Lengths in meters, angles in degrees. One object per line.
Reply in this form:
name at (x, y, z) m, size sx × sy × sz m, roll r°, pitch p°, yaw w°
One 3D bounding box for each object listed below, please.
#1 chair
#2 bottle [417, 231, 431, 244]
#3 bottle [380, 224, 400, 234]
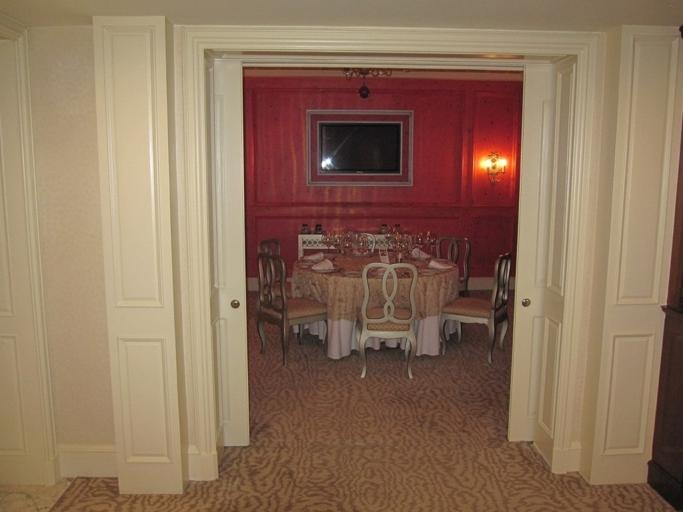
chair at (0.422, 0.464, 5.708) m, size 2.563 × 1.190 × 1.376 m, roll -1°, pitch 12°, yaw -10°
bottle at (1.066, -0.231, 7.072) m, size 0.184 × 0.134 × 0.192 m, roll -4°, pitch 21°, yaw 1°
bottle at (0.692, -0.378, 7.810) m, size 0.201 × 0.132 × 0.073 m, roll 0°, pitch 5°, yaw -7°
